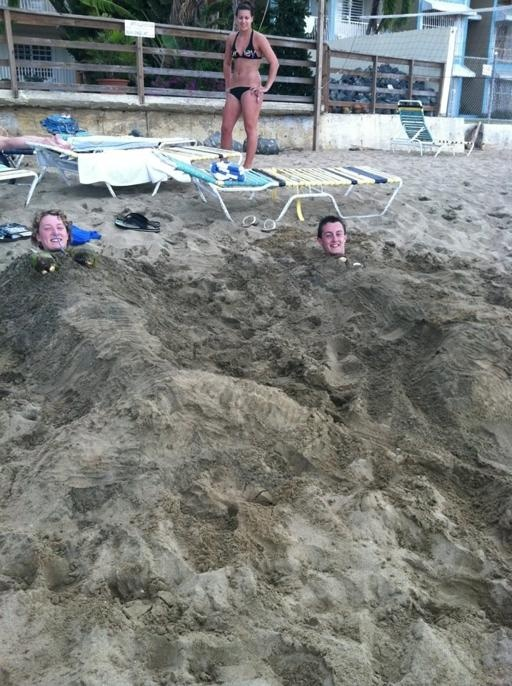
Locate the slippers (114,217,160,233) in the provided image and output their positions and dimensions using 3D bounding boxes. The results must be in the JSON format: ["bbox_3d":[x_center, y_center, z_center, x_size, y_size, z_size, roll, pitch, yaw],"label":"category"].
[{"bbox_3d":[-1.194,-1.186,5.574,0.312,0.097,0.226,-2,30,-12],"label":"slippers"}]

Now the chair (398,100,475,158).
[{"bbox_3d":[3.956,-4.935,12.657,0.660,1.169,1.845,21,30,40],"label":"chair"}]

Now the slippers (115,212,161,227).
[{"bbox_3d":[-1.213,-1.222,5.600,0.355,0.113,0.231,-2,29,-10],"label":"slippers"}]

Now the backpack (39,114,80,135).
[{"bbox_3d":[-2.869,-3.178,8.089,0.511,0.252,0.739,-4,22,-17],"label":"backpack"}]
